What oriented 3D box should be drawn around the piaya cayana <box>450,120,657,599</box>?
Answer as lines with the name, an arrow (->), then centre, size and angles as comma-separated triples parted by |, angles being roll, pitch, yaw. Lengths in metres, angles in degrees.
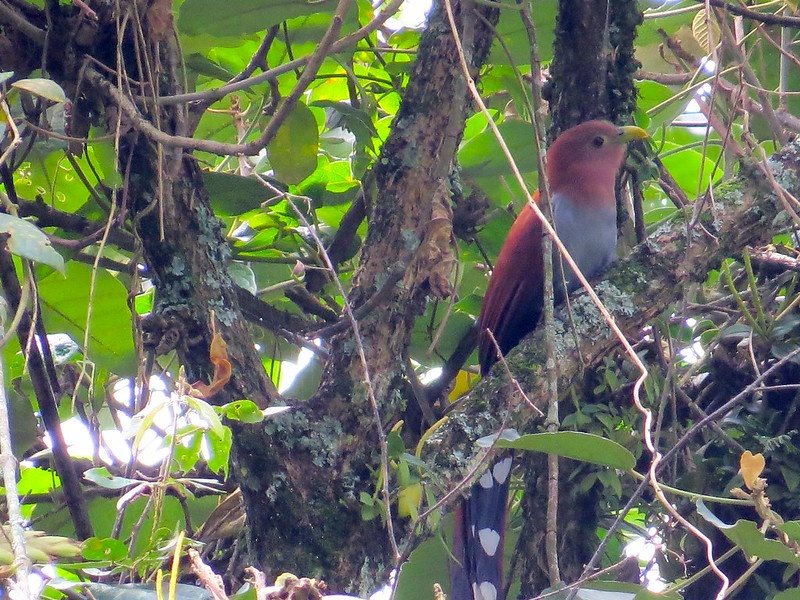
piaya cayana -> 0.354, 0.119, 2.652 | 0.437, 0.973, 0.630 | 5, -36, -16
